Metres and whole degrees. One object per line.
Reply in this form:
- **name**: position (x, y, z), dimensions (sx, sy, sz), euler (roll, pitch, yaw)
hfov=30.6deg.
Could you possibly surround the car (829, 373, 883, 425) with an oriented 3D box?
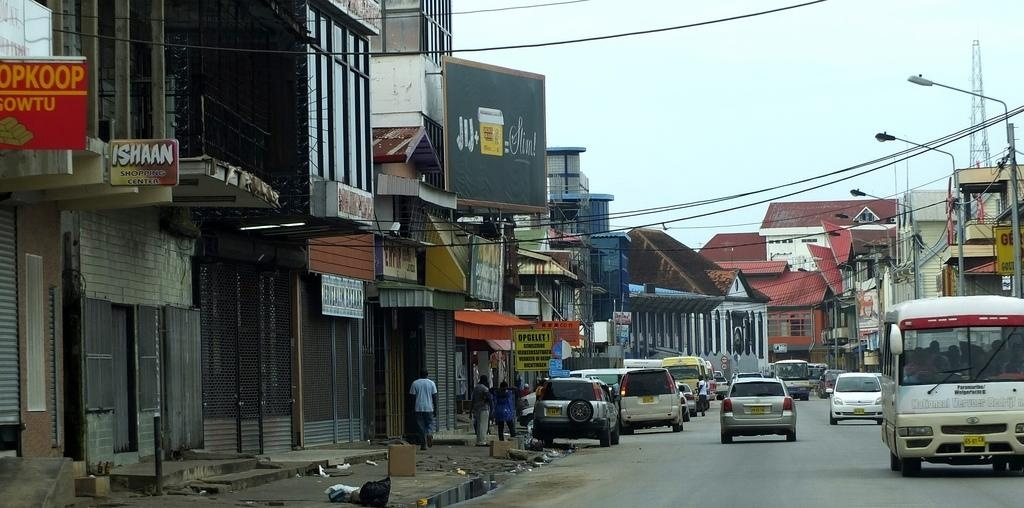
- **car**: position (15.010, 6.089, 81.547), dimensions (2.420, 2.011, 4.455), euler (0, 3, 10)

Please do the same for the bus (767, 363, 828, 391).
- **bus**: position (20.136, 8.198, 126.068), dimensions (2.107, 1.556, 5.559), euler (0, -6, -2)

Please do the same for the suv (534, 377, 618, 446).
- **suv**: position (1.562, 6.058, 71.266), dimensions (3.220, 2.448, 5.496), euler (2, -5, -18)

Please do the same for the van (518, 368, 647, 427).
- **van**: position (2.848, 5.586, 72.342), dimensions (4.496, 2.194, 2.596), euler (2, -5, -5)

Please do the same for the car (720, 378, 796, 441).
- **car**: position (9.038, 5.807, 69.172), dimensions (2.635, 2.422, 1.287), euler (5, 0, 5)

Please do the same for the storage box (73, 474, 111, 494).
- **storage box**: position (-12.229, 6.754, 54.846), dimensions (1.201, 0.551, 0.778), euler (5, 0, -35)
